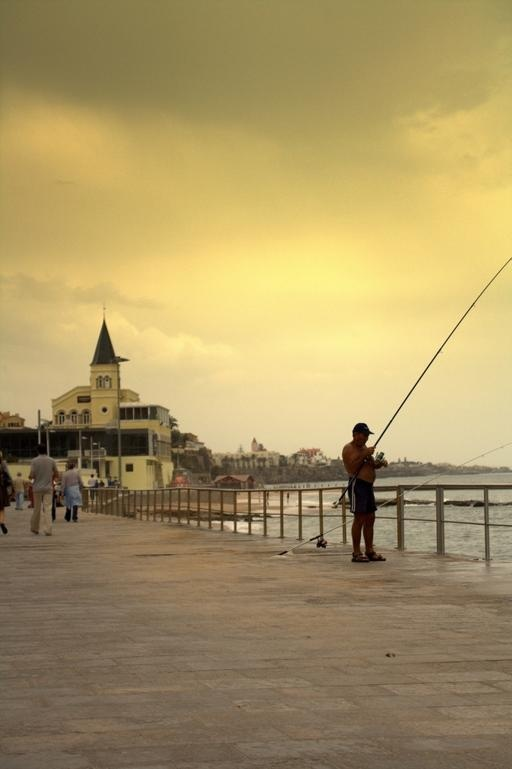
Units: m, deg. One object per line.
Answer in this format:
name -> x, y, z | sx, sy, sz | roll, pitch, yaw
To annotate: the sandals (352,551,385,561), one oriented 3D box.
sandals -> 1.429, 2.200, 11.003 | 0.413, 0.107, 0.158 | -1, -1, -14
